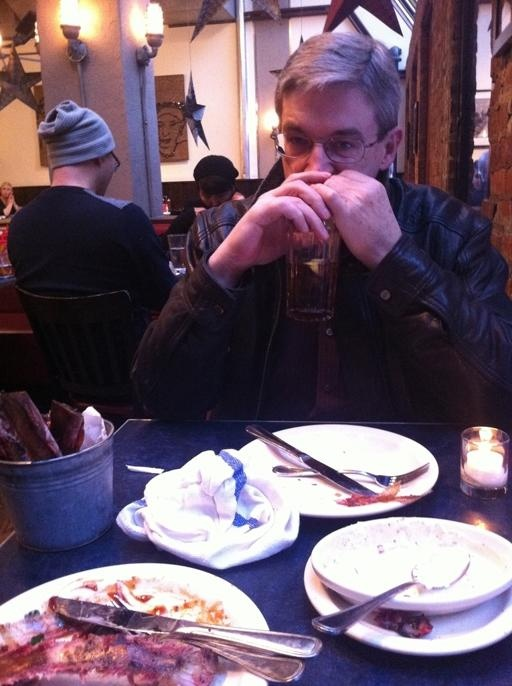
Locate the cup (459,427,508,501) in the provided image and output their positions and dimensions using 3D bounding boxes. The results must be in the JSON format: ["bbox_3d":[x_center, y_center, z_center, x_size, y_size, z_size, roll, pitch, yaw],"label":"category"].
[{"bbox_3d":[0.311,0.171,0.837,0.069,0.094,0.085,0,13,7],"label":"cup"}]

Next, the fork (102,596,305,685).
[{"bbox_3d":[-0.046,0.226,0.497,0.206,0.011,0.032,10,28,39],"label":"fork"}]
